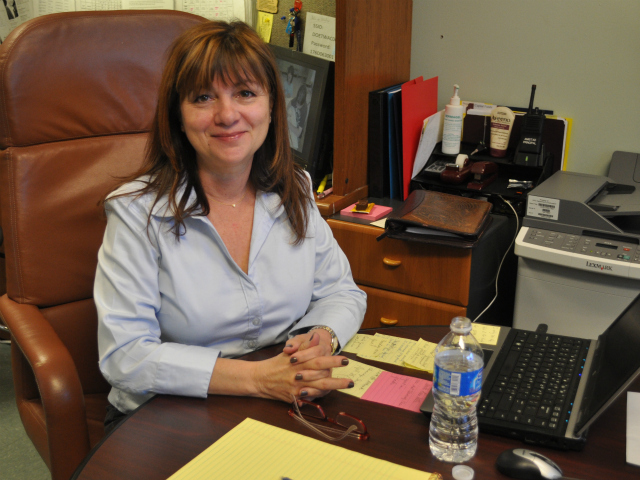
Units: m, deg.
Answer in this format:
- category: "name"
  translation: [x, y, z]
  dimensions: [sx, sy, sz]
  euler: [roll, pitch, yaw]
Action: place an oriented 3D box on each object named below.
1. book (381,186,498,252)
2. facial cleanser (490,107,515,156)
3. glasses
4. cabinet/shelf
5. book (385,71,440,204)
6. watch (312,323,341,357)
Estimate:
- category: "book"
  translation: [0.445, -0.086, 1.947]
  dimensions: [0.353, 0.109, 0.351]
  euler: [8, 24, 19]
- category: "facial cleanser"
  translation: [0.731, -0.443, 2.149]
  dimensions: [0.089, 0.187, 0.071]
  euler: [10, 24, 24]
- category: "glasses"
  translation: [0.020, 0.368, 1.069]
  dimensions: [0.077, 0.022, 0.079]
  euler: [17, 19, 19]
- category: "cabinet/shelf"
  translation: [0.318, 0.108, 2.054]
  dimensions: [0.541, 0.531, 0.392]
  euler: [6, 13, 26]
- category: "book"
  translation: [0.416, -0.444, 2.213]
  dimensions: [0.106, 0.458, 0.385]
  euler: [12, 25, 27]
- category: "watch"
  translation: [0.016, 0.248, 1.319]
  dimensions: [0.017, 0.066, 0.065]
  euler: [-34, 43, 12]
